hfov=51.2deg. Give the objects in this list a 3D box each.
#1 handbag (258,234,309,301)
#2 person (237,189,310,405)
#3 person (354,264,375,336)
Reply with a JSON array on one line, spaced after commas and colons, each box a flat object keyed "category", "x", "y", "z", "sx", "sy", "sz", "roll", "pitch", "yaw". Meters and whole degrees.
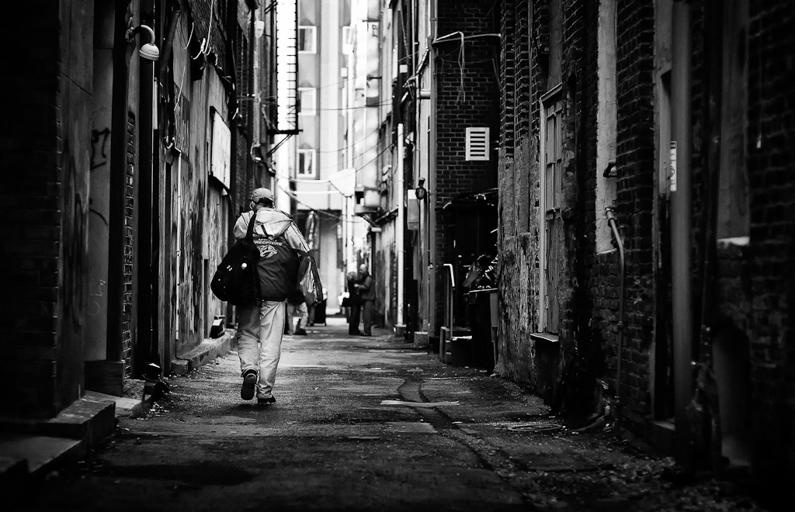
[{"category": "handbag", "x": -1.427, "y": 0.171, "z": 10.163, "sx": 0.733, "sy": 0.766, "sz": 0.407, "roll": 1, "pitch": 1, "yaw": 37}, {"category": "person", "x": -1.656, "y": 0.492, "z": 10.398, "sx": 0.956, "sy": 2.580, "sz": 0.944, "roll": -2, "pitch": -8, "yaw": 34}, {"category": "person", "x": -1.179, "y": 1.656, "z": 29.336, "sx": 0.910, "sy": 3.084, "sz": 1.187, "roll": 3, "pitch": -32, "yaw": -4}]
